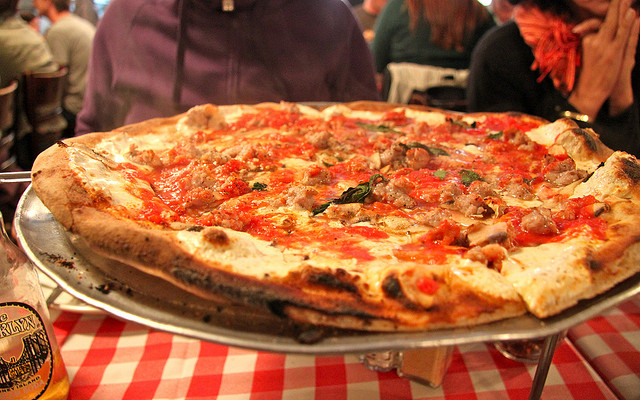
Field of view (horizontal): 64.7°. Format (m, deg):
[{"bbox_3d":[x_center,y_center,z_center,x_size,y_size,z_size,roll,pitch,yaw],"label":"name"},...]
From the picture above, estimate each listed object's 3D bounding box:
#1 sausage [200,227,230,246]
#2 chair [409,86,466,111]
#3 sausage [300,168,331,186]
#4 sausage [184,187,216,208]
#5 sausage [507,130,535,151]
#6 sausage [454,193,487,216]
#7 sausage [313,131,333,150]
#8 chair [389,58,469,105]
[{"bbox_3d":[-0.766,0.263,3.708,0.175,0.045,0.123,9,34,-22],"label":"sausage"},{"bbox_3d":[2.148,-1.874,9.307,0.660,0.687,0.560,-4,16,-9],"label":"chair"},{"bbox_3d":[-0.023,-0.207,4.623,0.198,0.185,0.066,-5,75,-24],"label":"sausage"},{"bbox_3d":[-1.024,-0.025,4.332,0.197,0.067,0.166,-4,36,-2],"label":"sausage"},{"bbox_3d":[2.121,-0.616,5.322,0.181,0.058,0.266,-42,58,-2],"label":"sausage"},{"bbox_3d":[1.250,0.029,4.209,0.224,0.075,0.165,-15,48,-10],"label":"sausage"},{"bbox_3d":[0.020,-0.627,5.326,0.162,0.068,0.197,16,38,11],"label":"sausage"},{"bbox_3d":[1.825,-2.260,9.865,1.609,0.727,1.948,-10,12,-23],"label":"chair"}]
